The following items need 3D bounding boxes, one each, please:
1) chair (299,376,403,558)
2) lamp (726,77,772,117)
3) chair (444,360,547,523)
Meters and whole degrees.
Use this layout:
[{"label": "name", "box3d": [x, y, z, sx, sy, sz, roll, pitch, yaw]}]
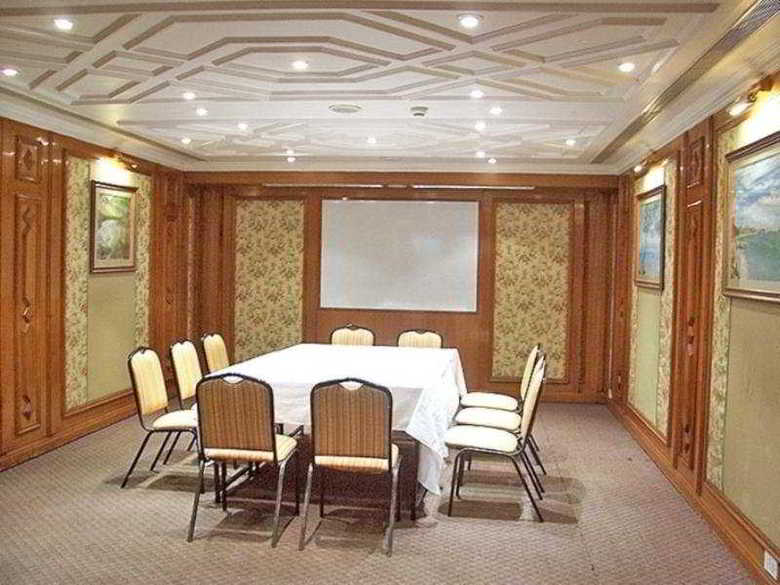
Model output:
[{"label": "chair", "box3d": [-0.285, 1.107, 3.836, 0.712, 1.173, 0.747, 1, 6, 0]}, {"label": "lamp", "box3d": [2.348, -1.284, 3.520, 0.146, 0.434, 0.140, 37, -32, 14]}, {"label": "chair", "box3d": [0.901, 1.101, 4.502, 0.775, 1.226, 1.146, 3, 6, 14]}]
